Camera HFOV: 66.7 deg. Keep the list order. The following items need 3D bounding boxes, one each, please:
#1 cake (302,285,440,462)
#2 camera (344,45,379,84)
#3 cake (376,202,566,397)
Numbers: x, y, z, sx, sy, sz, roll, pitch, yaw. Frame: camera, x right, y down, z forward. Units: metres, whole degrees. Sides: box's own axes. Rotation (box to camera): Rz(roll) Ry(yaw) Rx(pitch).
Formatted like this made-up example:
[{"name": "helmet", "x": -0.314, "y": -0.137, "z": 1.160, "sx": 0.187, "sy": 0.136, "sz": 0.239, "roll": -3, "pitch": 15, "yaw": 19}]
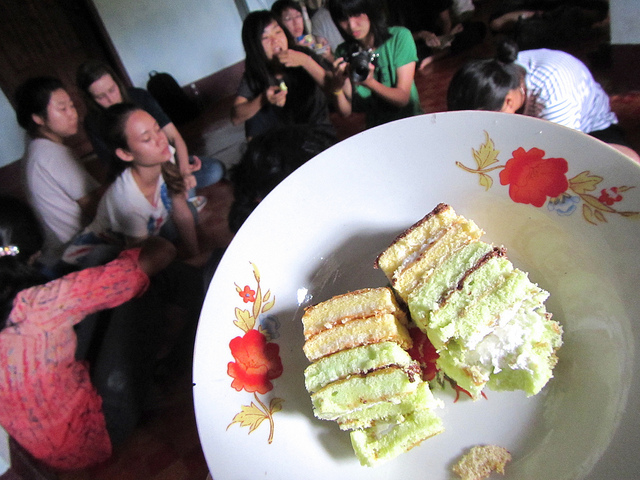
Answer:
[{"name": "cake", "x": 0.099, "y": 0.275, "z": 1.019, "sx": 0.238, "sy": 0.108, "sz": 0.371, "roll": -38, "pitch": 90, "yaw": 17}, {"name": "camera", "x": 0.097, "y": -0.439, "z": 1.204, "sx": 0.056, "sy": 0.103, "sz": 0.075, "roll": 18, "pitch": 32, "yaw": -13}, {"name": "cake", "x": 0.314, "y": 0.138, "z": 1.029, "sx": 0.263, "sy": 0.147, "sz": 0.416, "roll": -37, "pitch": 60, "yaw": 2}]
